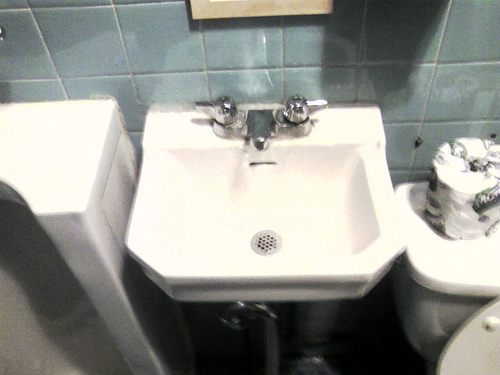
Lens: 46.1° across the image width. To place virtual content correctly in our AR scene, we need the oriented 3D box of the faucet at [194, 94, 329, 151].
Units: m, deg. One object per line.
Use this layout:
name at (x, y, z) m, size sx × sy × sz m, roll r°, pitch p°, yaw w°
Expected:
faucet at (0.035, -0.189, 1.542) m, size 0.285 × 0.120 × 0.190 m, roll 19°, pitch 48°, yaw 28°

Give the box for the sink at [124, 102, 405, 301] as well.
sink at (0.035, 0.016, 1.496) m, size 0.659 × 0.304 × 0.486 m, roll -4°, pitch 41°, yaw 5°

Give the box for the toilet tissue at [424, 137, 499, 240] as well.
toilet tissue at (0.570, -0.001, 1.550) m, size 0.186 × 0.200 × 0.190 m, roll 6°, pitch 43°, yaw 16°
